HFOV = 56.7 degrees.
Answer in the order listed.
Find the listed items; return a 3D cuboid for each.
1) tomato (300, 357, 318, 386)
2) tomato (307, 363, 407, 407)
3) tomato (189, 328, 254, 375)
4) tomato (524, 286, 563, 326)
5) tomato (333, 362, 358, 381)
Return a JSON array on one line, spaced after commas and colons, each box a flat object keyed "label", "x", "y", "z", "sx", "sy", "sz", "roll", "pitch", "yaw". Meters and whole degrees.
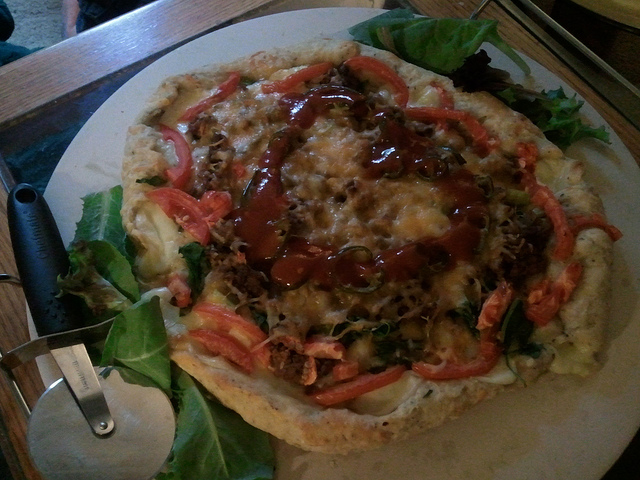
[{"label": "tomato", "x": -0.052, "y": 0.663, "z": 2.981, "sx": 0.130, "sy": 0.039, "sz": 0.113, "roll": 7, "pitch": 99, "yaw": 20}, {"label": "tomato", "x": 0.163, "y": 0.731, "z": 2.964, "sx": 0.354, "sy": 0.271, "sz": 0.063, "roll": -11, "pitch": 80, "yaw": 0}, {"label": "tomato", "x": -0.469, "y": 0.560, "z": 3.016, "sx": 0.152, "sy": 0.051, "sz": 0.358, "roll": -44, "pitch": 77, "yaw": -9}, {"label": "tomato", "x": 1.180, "y": 0.342, "z": 3.100, "sx": 0.163, "sy": 0.069, "sz": 0.253, "roll": 39, "pitch": 79, "yaw": 12}, {"label": "tomato", "x": 0.123, "y": 0.659, "z": 2.965, "sx": 0.123, "sy": 0.049, "sz": 0.092, "roll": 0, "pitch": 75, "yaw": 3}]
